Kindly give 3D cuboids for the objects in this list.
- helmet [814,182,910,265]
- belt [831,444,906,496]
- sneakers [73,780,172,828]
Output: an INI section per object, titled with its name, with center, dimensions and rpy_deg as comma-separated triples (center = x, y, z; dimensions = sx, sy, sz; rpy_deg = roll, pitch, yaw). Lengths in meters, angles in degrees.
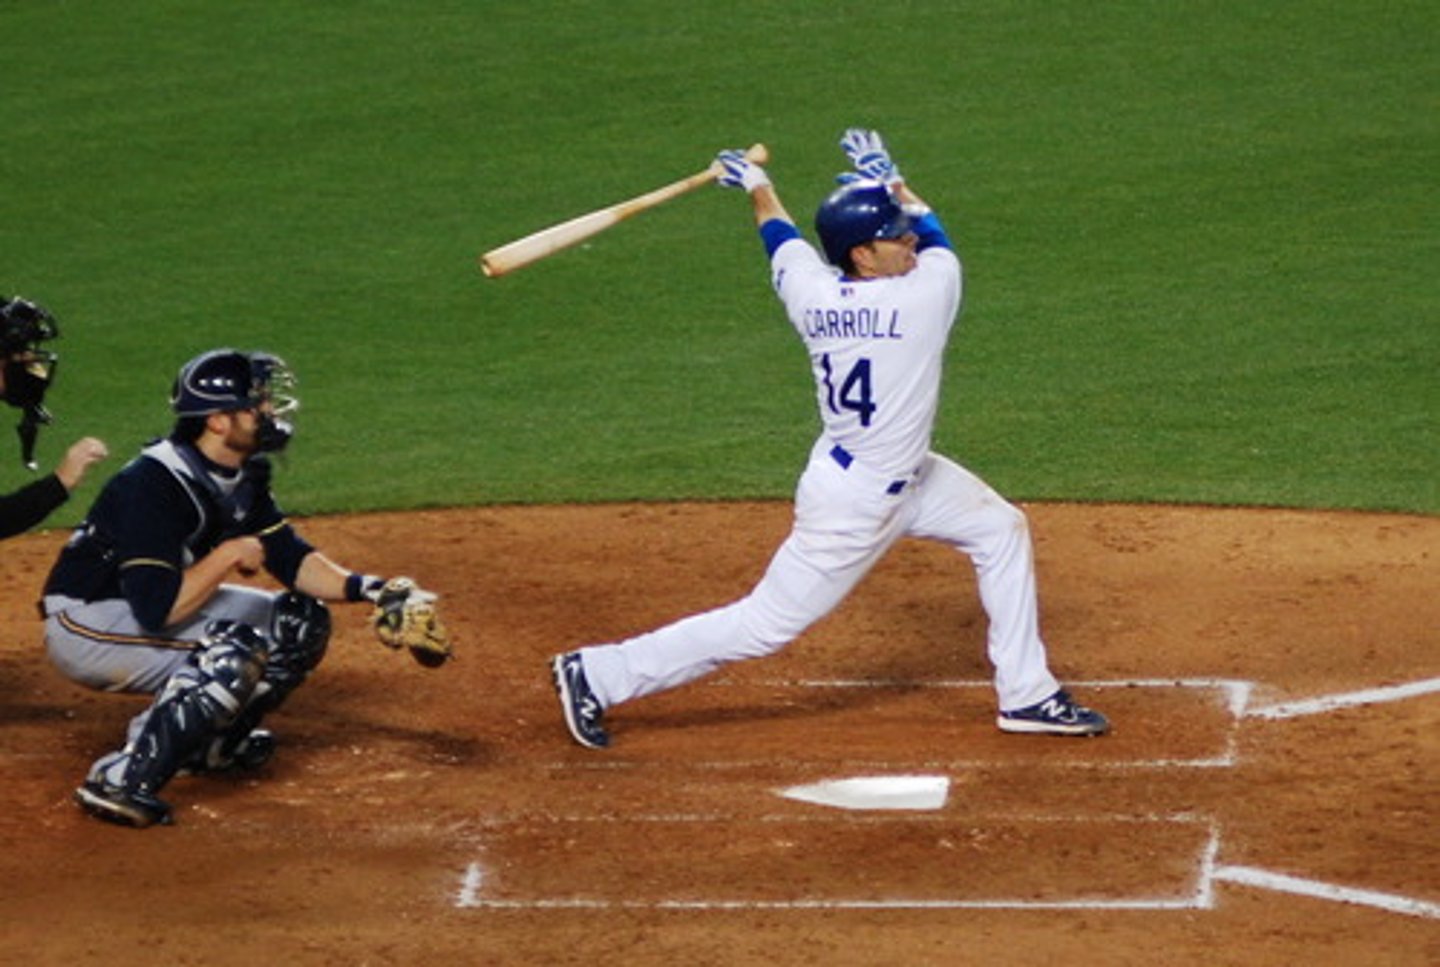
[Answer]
[helmet]
center = 0.802, -1.433, 14.325
dimensions = 0.517, 0.485, 0.265
rpy_deg = -1, 31, 2
[belt]
center = 0.865, -0.093, 14.369
dimensions = 0.374, 0.252, 0.133
rpy_deg = 31, 71, 29
[sneakers]
center = -3.206, 1.745, 13.812
dimensions = 0.480, 0.242, 0.123
rpy_deg = 10, 71, 10
